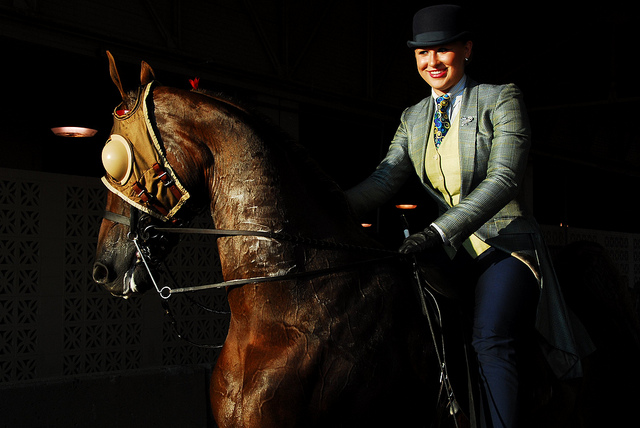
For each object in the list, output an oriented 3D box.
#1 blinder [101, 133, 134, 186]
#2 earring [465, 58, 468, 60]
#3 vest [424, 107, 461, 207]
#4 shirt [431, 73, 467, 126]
[{"bbox_3d":[-1.267,-0.332,4.206,0.281,0.338,0.189,-17,-9,42],"label":"blinder"},{"bbox_3d":[1.005,-1.063,4.569,0.004,0.014,0.008,-19,22,-22],"label":"earring"},{"bbox_3d":[0.853,-0.395,4.615,0.271,0.667,0.170,-3,-9,24],"label":"vest"},{"bbox_3d":[0.891,-0.809,4.673,0.235,0.328,0.178,-6,8,-21],"label":"shirt"}]
